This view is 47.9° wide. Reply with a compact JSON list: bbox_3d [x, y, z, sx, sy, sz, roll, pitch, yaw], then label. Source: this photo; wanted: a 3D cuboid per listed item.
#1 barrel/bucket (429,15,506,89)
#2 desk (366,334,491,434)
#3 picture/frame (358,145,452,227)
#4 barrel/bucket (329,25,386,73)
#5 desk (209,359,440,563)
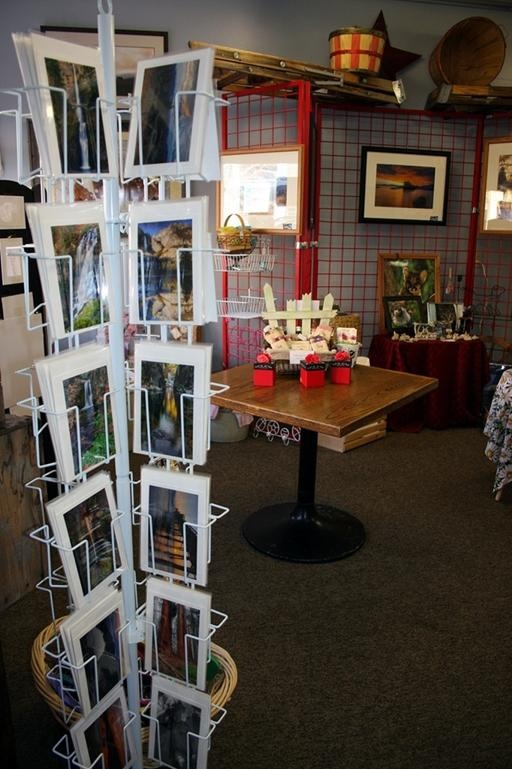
[{"bbox_3d":[1.628,-2.551,4.446,0.542,0.468,0.239,-2,12,-9],"label":"barrel/bucket"},{"bbox_3d":[1.342,-0.118,4.477,0.765,0.641,0.858,5,13,24],"label":"desk"},{"bbox_3d":[1.169,-1.606,4.613,0.679,0.494,0.032,0,18,-12],"label":"picture/frame"},{"bbox_3d":[0.696,-2.240,3.916,0.331,0.198,0.307,1,23,0],"label":"barrel/bucket"},{"bbox_3d":[0.210,0.332,2.355,0.820,0.537,0.792,3,15,-8],"label":"desk"}]
